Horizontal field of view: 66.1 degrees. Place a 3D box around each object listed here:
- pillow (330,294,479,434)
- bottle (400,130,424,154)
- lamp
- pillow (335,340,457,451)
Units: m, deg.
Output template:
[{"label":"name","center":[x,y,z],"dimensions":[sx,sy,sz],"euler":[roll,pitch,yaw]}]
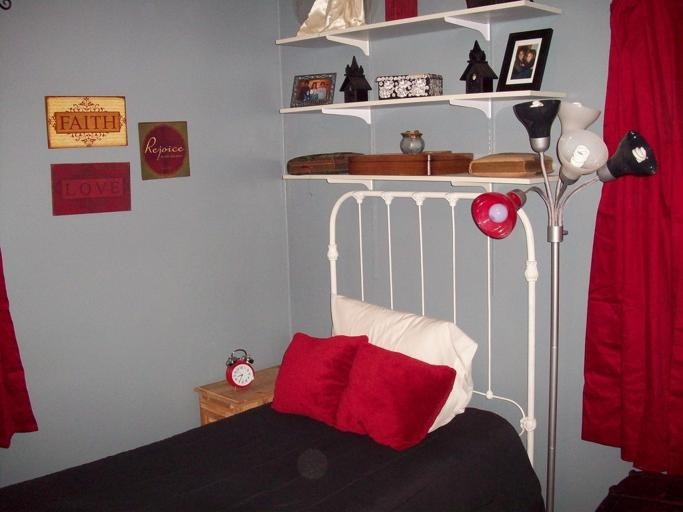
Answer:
[{"label":"pillow","center":[0.316,0.470,2.594],"dimensions":[0.596,0.193,0.522],"euler":[13,15,39]},{"label":"bottle","center":[0.355,-0.570,2.694],"dimensions":[0.117,0.121,0.123],"euler":[-1,1,-3]},{"label":"lamp","center":[0.902,0.319,2.314],"dimensions":[0.626,1.939,0.517],"euler":[3,13,20]},{"label":"pillow","center":[0.214,0.615,2.307],"dimensions":[0.434,0.415,0.139],"euler":[16,-11,41]}]
